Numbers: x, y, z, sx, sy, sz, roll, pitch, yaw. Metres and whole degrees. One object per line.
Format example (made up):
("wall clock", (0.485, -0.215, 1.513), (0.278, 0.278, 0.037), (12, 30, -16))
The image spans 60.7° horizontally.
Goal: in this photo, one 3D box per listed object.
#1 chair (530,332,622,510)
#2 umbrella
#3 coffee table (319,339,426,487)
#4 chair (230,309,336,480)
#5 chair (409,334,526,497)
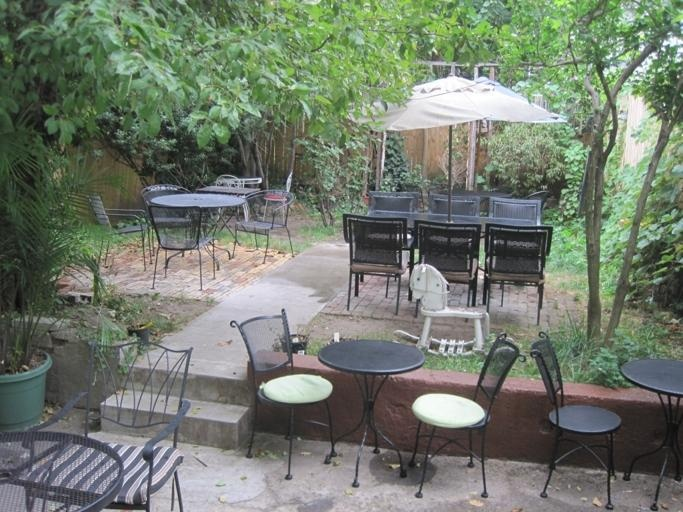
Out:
("chair", (1.650, 1.096, 4.103), (0.631, 1.077, 0.638), (8, 14, 25))
("umbrella", (1.227, -1.241, 6.207), (1.723, 1.091, 1.685), (-6, 4, -43))
("coffee table", (0.210, 1.097, 4.534), (0.910, 1.049, 0.935), (3, 7, 15))
("chair", (-0.414, 0.981, 4.490), (0.668, 1.073, 0.838), (-10, 17, -40))
("chair", (0.862, 1.069, 4.169), (0.694, 1.106, 0.678), (3, 13, 7))
